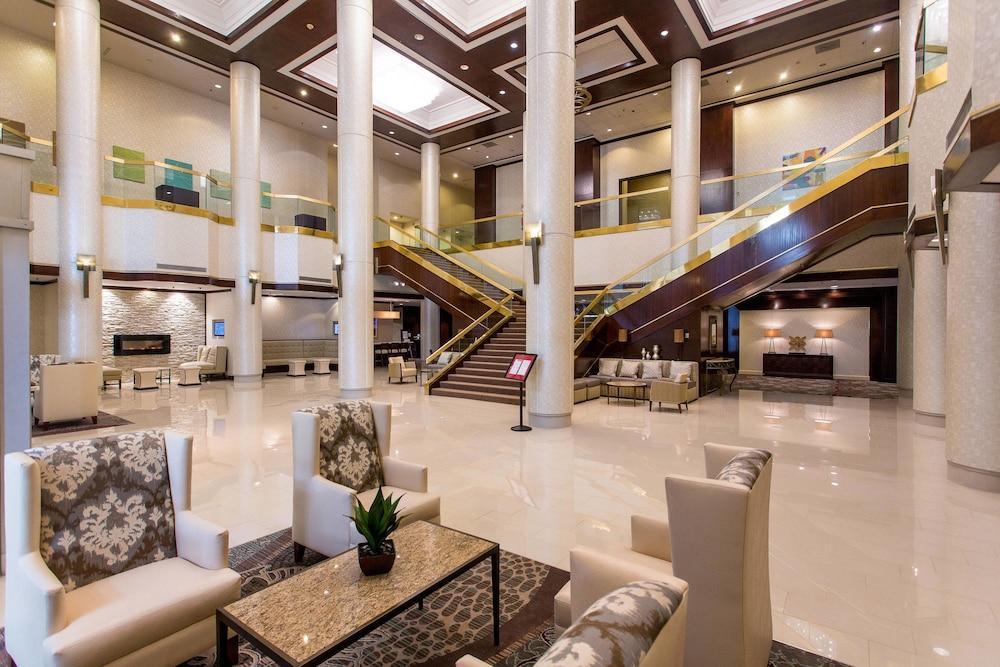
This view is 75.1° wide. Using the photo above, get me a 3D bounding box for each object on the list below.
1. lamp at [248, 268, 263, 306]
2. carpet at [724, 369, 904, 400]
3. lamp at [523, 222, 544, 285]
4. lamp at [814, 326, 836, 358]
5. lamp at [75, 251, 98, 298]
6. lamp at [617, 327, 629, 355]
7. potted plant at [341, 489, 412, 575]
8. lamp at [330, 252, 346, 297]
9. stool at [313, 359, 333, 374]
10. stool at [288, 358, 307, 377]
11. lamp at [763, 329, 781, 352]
[{"bbox_3d":[-6.393,-1.206,16.973,0.334,0.932,0.274,0,-1,-41],"label":"lamp"},{"bbox_3d":[8.022,1.390,16.563,3.781,0.288,3.993,-1,-2,32],"label":"carpet"},{"bbox_3d":[0.631,-1.408,11.365,0.283,1.086,0.161,-1,-1,27],"label":"lamp"},{"bbox_3d":[9.463,0.190,18.939,0.517,0.774,0.119,-1,-1,29],"label":"lamp"},{"bbox_3d":[-8.780,-1.222,13.784,0.371,0.949,0.195,0,-1,-32],"label":"lamp"},{"bbox_3d":[3.063,0.145,15.805,0.375,0.724,0.364,1,0,6],"label":"lamp"},{"bbox_3d":[-1.131,1.927,6.517,0.701,0.824,0.737,0,1,-2],"label":"potted plant"},{"bbox_3d":[-3.596,-1.299,14.408,0.226,1.002,0.473,0,-1,-27],"label":"lamp"},{"bbox_3d":[-5.619,1.035,20.406,0.448,0.526,0.510,-1,5,-14],"label":"stool"},{"bbox_3d":[-6.093,1.046,19.666,0.520,0.457,0.513,0,-1,-41],"label":"stool"},{"bbox_3d":[8.335,0.224,19.813,0.529,1.032,0.527,-1,-2,27],"label":"lamp"}]
